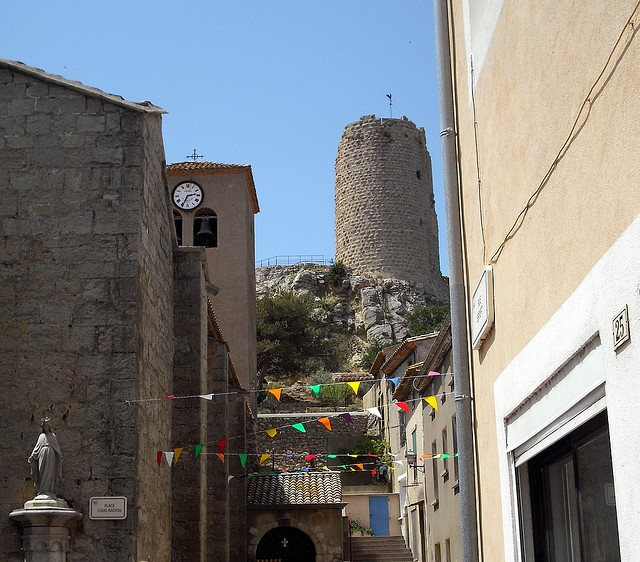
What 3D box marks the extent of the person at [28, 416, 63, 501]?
[{"bbox_3d":[-2.773,1.801,13.885,0.337,0.799,0.266,3,-16,-11],"label":"person"}]
